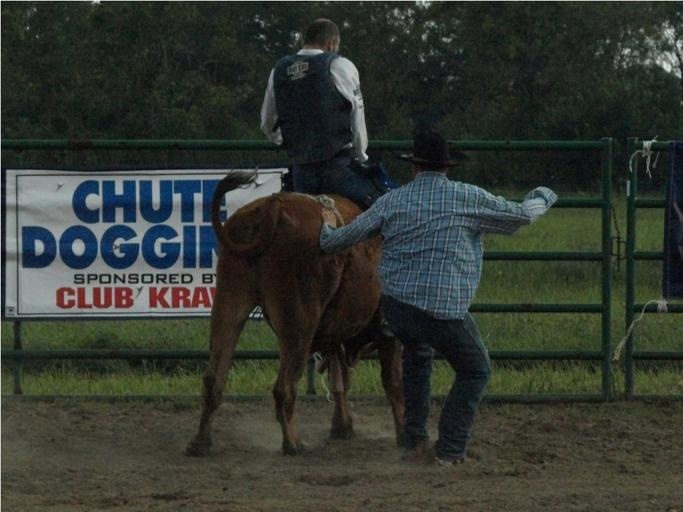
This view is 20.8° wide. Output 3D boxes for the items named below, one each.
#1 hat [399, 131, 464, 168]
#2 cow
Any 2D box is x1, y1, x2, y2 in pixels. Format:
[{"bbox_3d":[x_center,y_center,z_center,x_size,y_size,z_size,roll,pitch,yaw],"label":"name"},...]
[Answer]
[{"bbox_3d":[0.863,-1.073,18.570,0.698,0.388,0.884,6,1,-10],"label":"hat"},{"bbox_3d":[-0.044,0.681,19.732,1.032,2.987,4.110,5,2,33],"label":"cow"}]
